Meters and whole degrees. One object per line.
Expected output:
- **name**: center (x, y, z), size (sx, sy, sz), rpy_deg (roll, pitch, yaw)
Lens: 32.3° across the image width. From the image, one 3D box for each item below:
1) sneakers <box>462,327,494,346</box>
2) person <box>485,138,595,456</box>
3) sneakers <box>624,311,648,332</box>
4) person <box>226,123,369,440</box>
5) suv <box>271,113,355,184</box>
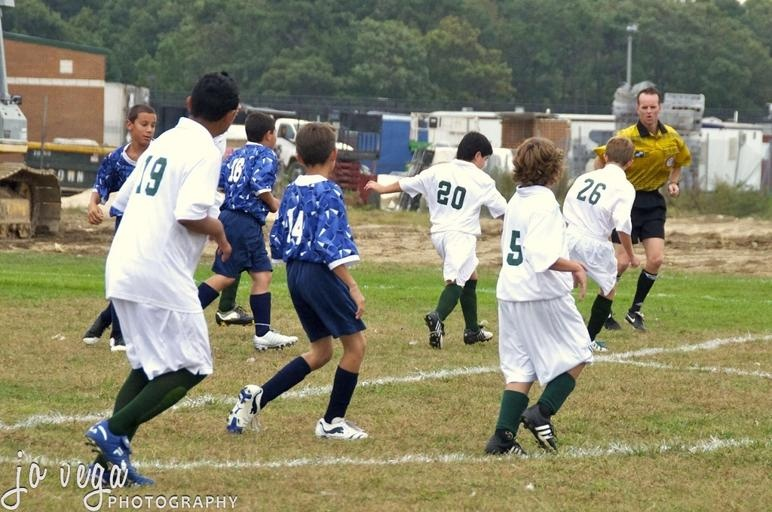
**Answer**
- **sneakers**: center (1.441, 1.227, 20.256), size (0.471, 0.234, 0.215), rpy_deg (-3, 6, -31)
- **person**: center (1.991, 0.545, 17.313), size (1.204, 4.094, 0.631), rpy_deg (2, 4, 8)
- **sneakers**: center (3.972, 1.012, 20.862), size (0.479, 0.220, 0.172), rpy_deg (35, 26, 32)
- **person**: center (-0.965, 0.332, 17.487), size (1.574, 4.138, 0.570), rpy_deg (1, 4, -2)
- **suv**: center (-2.870, -3.281, 40.501), size (1.948, 2.057, 3.539), rpy_deg (-4, 3, -36)
